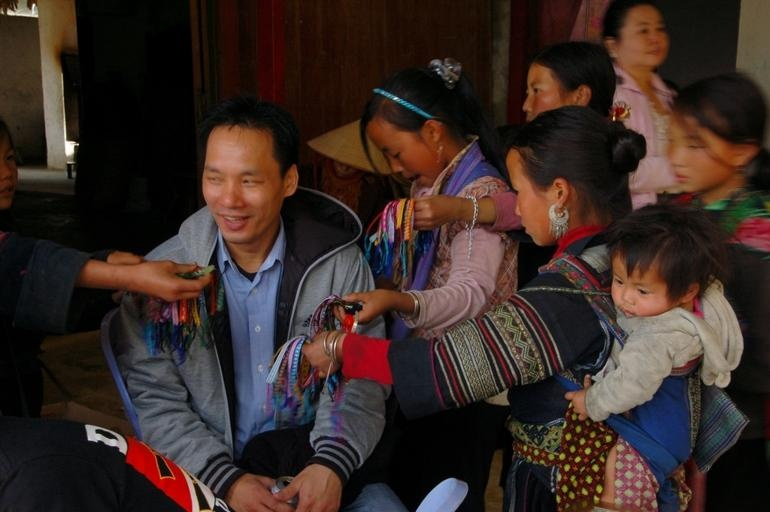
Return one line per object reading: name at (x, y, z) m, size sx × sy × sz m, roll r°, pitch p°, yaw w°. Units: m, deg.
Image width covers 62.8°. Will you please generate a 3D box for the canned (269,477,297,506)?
canned at (-0.361, 0.845, 2.261) m, size 0.087 × 0.076 × 0.101 m, roll 0°, pitch 8°, yaw -20°
